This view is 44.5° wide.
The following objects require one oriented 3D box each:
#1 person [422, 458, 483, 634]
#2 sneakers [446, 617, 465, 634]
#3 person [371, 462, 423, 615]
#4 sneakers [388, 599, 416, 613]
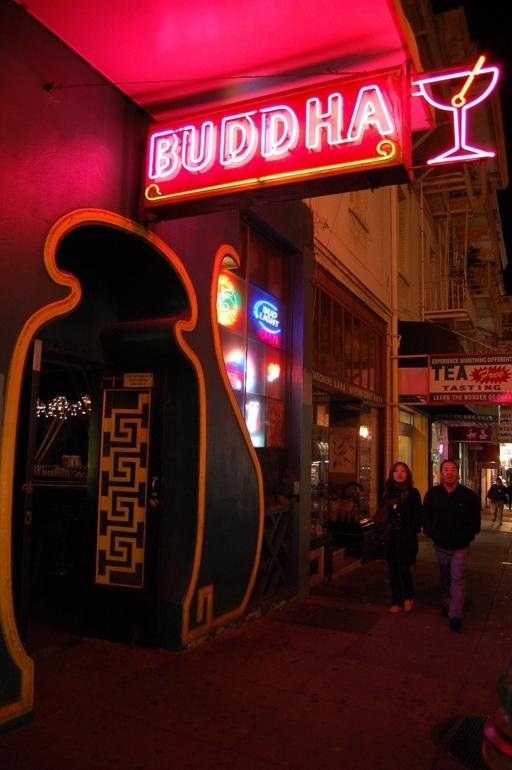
[{"bbox_3d":[2.056,1.633,6.531,0.463,1.639,0.737,3,-7,-9],"label":"person"},{"bbox_3d":[1.943,2.363,6.137,0.139,0.147,0.133,-11,-26,21],"label":"sneakers"},{"bbox_3d":[1.606,1.718,7.134,0.497,1.649,0.557,1,-7,12],"label":"person"},{"bbox_3d":[1.629,2.472,7.011,0.114,0.150,0.313,-13,-20,39],"label":"sneakers"}]
